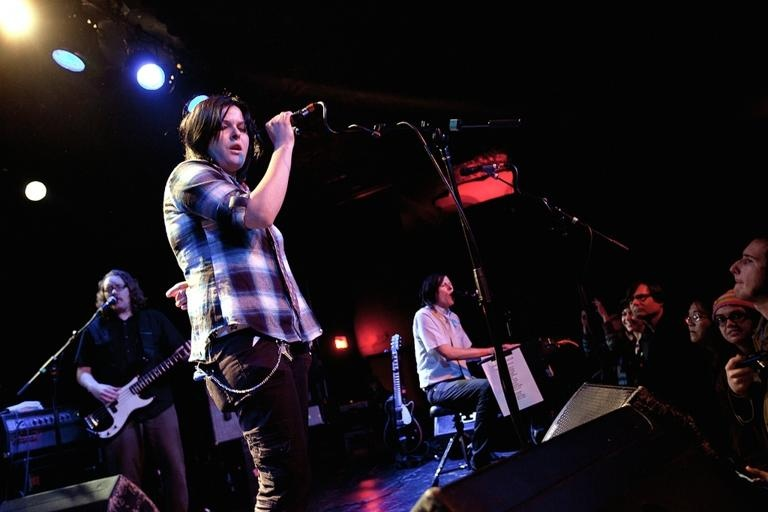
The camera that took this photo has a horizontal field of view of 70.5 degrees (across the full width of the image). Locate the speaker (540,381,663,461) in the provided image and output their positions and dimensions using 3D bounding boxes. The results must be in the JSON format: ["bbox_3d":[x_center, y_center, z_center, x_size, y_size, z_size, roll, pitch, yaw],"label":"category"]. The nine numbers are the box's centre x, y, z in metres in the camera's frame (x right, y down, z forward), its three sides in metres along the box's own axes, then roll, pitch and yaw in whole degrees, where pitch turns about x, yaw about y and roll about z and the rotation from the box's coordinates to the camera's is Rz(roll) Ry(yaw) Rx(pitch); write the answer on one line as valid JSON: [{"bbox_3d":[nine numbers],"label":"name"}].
[{"bbox_3d":[1.332,0.995,3.519,0.507,0.208,0.769,-16,-18,-8],"label":"speaker"}]

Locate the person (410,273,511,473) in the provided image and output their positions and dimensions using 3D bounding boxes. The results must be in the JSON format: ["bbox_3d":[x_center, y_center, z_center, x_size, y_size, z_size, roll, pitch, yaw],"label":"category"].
[{"bbox_3d":[0.754,1.201,6.060,0.786,2.182,1.017,-17,-17,-4],"label":"person"}]

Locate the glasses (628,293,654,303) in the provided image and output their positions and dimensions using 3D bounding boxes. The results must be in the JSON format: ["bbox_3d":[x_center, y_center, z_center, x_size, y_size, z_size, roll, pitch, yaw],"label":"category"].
[{"bbox_3d":[2.778,0.457,5.843,0.131,0.043,0.128,23,-30,-23],"label":"glasses"}]

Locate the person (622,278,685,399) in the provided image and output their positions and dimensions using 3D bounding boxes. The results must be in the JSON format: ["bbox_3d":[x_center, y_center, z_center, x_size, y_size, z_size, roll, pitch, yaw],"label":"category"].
[{"bbox_3d":[2.759,0.843,5.570,0.570,0.819,0.566,-25,-18,21],"label":"person"}]

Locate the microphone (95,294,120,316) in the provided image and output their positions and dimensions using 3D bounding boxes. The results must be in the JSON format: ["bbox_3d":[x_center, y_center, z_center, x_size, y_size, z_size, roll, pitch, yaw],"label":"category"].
[{"bbox_3d":[-2.944,0.533,5.723,0.388,0.125,0.120,-25,-57,40],"label":"microphone"}]

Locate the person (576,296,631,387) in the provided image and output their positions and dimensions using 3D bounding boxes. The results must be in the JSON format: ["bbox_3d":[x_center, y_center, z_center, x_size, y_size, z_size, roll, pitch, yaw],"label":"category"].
[{"bbox_3d":[2.534,0.977,6.235,0.329,0.294,1.132,18,6,-6],"label":"person"}]
